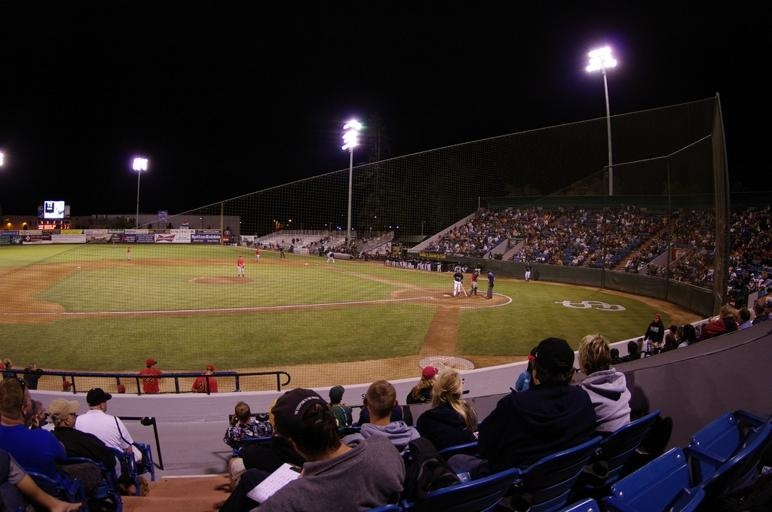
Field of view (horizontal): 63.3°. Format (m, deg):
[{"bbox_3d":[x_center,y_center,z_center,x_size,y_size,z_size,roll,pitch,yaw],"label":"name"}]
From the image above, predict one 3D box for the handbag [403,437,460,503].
[{"bbox_3d":[0.948,4.961,14.593,1.395,0.490,1.344,1,31,-23],"label":"handbag"}]
